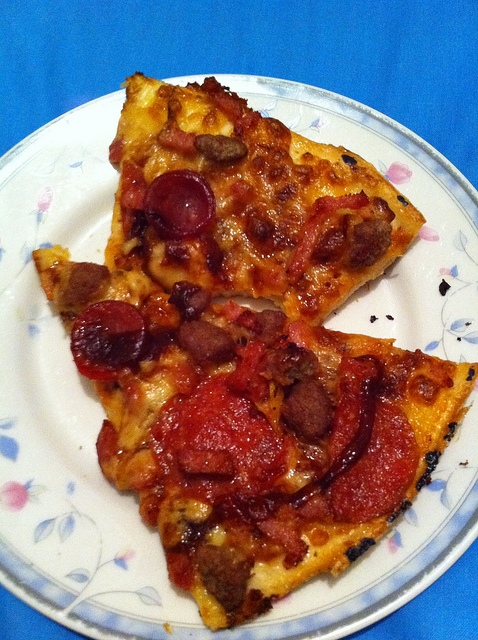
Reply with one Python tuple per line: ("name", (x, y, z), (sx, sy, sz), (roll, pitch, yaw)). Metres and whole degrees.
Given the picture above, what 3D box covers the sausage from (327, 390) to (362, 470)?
("sausage", (0.688, 0.728, 4.567), (0.160, 0.097, 0.523), (15, 70, 7))
